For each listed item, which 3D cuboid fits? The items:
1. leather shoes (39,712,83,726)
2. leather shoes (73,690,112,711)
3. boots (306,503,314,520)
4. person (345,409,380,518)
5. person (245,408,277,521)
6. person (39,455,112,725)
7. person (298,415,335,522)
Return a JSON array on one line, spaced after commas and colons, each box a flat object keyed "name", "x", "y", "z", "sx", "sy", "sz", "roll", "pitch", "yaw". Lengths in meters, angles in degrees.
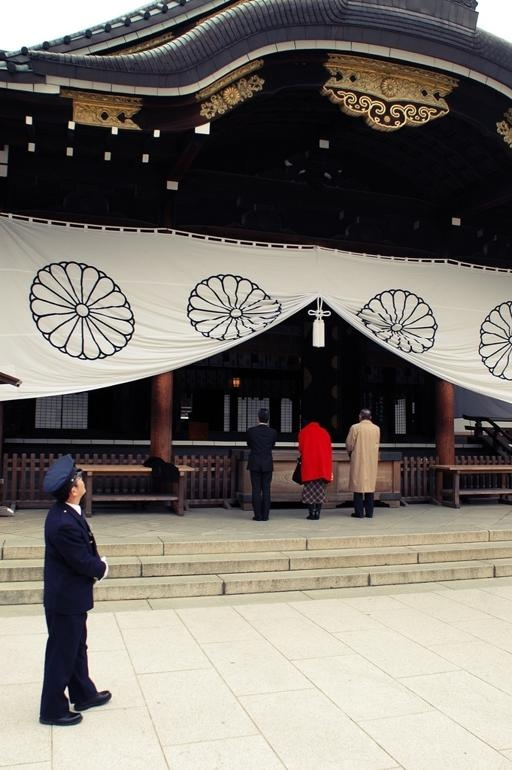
[{"name": "leather shoes", "x": -0.955, "y": 1.668, "z": 3.855, "sx": 0.174, "sy": 0.073, "sz": 0.074, "roll": -1, "pitch": -3, "yaw": -12}, {"name": "leather shoes", "x": -0.850, "y": 1.661, "z": 4.080, "sx": 0.188, "sy": 0.077, "sz": 0.062, "roll": -7, "pitch": 5, "yaw": -31}, {"name": "boots", "x": 0.644, "y": 1.509, "z": 9.194, "sx": 0.087, "sy": 0.135, "sz": 0.207, "roll": 3, "pitch": 2, "yaw": 4}, {"name": "person", "x": 1.289, "y": 0.970, "z": 9.514, "sx": 0.393, "sy": 1.044, "sz": 0.546, "roll": 3, "pitch": 2, "yaw": 6}, {"name": "person", "x": 0.040, "y": 0.953, "z": 9.154, "sx": 0.320, "sy": 0.934, "sz": 0.634, "roll": 3, "pitch": 2, "yaw": 1}, {"name": "person", "x": -0.908, "y": 1.042, "z": 3.955, "sx": 0.373, "sy": 1.352, "sz": 0.371, "roll": 3, "pitch": 2, "yaw": -10}, {"name": "person", "x": 0.731, "y": 1.029, "z": 9.314, "sx": 0.380, "sy": 0.881, "sz": 0.536, "roll": 3, "pitch": 2, "yaw": -20}]
